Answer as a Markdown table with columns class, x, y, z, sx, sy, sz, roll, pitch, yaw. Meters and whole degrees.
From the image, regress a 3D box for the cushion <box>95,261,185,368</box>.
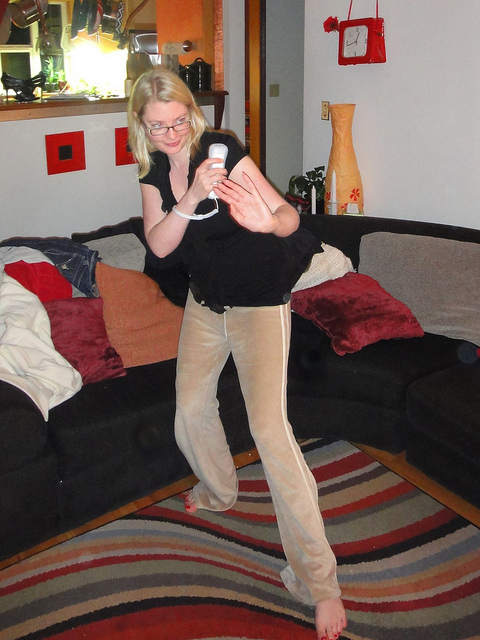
| class | x | y | z | sx | sy | sz | roll | pitch | yaw |
| --- | --- | --- | --- | --- | --- | --- | --- | --- | --- |
| cushion | -0.385 | -0.044 | 1.992 | 0.321 | 0.079 | 0.441 | -12 | 66 | -35 |

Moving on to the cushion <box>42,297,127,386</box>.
| class | x | y | z | sx | sy | sz | roll | pitch | yaw |
| --- | --- | --- | --- | --- | --- | --- | --- | --- | --- |
| cushion | -0.581 | 0.057 | 1.863 | 0.100 | 0.289 | 0.365 | -33 | -12 | 22 |

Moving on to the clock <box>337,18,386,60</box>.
| class | x | y | z | sx | sy | sz | roll | pitch | yaw |
| --- | --- | --- | --- | --- | --- | --- | --- | --- | --- |
| clock | 0.640 | -1.454 | 2.679 | 0.095 | 0.221 | 0.234 | -24 | 30 | -27 |

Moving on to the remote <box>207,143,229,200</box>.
| class | x | y | z | sx | sy | sz | roll | pitch | yaw |
| --- | --- | --- | --- | --- | --- | --- | --- | --- | --- |
| remote | -0.047 | -0.319 | 1.127 | 0.047 | 0.122 | 0.103 | 0 | 19 | -3 |

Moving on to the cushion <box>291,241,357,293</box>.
| class | x | y | z | sx | sy | sz | roll | pitch | yaw |
| --- | --- | --- | --- | --- | --- | --- | --- | --- | --- |
| cushion | 0.379 | -0.237 | 2.358 | 0.297 | 0.104 | 0.267 | -20 | 12 | -9 |

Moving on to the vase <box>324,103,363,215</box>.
| class | x | y | z | sx | sy | sz | roll | pitch | yaw |
| --- | --- | --- | --- | --- | --- | --- | --- | --- | --- |
| vase | 0.590 | -0.890 | 2.894 | 0.237 | 0.591 | 0.162 | 9 | 20 | 22 |

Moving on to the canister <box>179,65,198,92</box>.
| class | x | y | z | sx | sy | sz | roll | pitch | yaw |
| --- | --- | --- | --- | --- | --- | --- | --- | --- | --- |
| canister | -0.401 | -1.831 | 3.904 | 0.133 | 0.189 | 0.214 | 6 | 20 | 13 |

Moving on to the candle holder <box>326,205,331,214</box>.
| class | x | y | z | sx | sy | sz | roll | pitch | yaw |
| --- | --- | --- | --- | --- | --- | --- | --- | --- | --- |
| candle holder | 0.515 | -0.640 | 2.978 | 0.034 | 0.061 | 0.034 | 2 | 30 | 10 |

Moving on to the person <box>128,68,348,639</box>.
| class | x | y | z | sx | sy | sz | roll | pitch | yaw |
| --- | --- | --- | --- | --- | --- | --- | --- | --- | --- |
| person | 0.002 | 0.109 | 1.328 | 0.355 | 1.372 | 0.701 | -12 | 23 | -33 |
